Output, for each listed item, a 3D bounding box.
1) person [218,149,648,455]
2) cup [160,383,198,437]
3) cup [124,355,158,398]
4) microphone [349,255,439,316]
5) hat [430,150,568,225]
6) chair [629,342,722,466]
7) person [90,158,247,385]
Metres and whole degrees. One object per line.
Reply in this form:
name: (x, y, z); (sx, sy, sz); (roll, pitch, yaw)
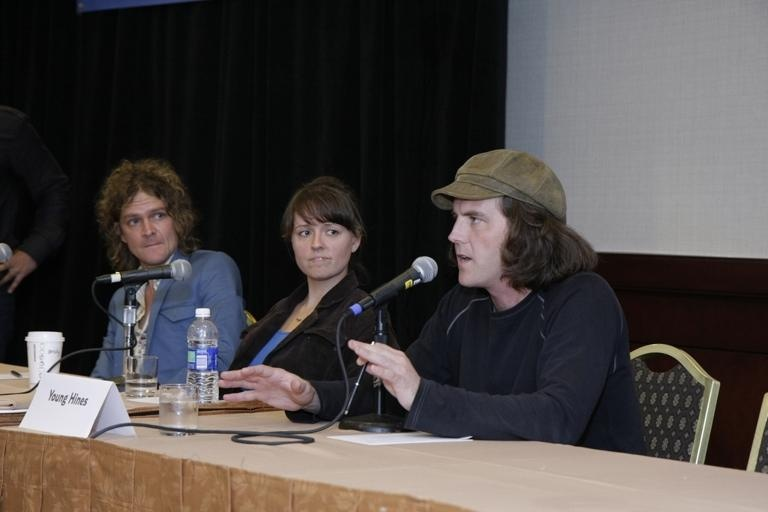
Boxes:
person: (0.144, 0.187, 2.336); (1.137, 1.043, 0.948); (7, -11, -25)
cup: (-0.625, 0.475, 2.030); (0.117, 0.158, 0.135); (-3, -7, 20)
cup: (-0.946, 0.459, 2.546); (0.138, 0.162, 0.108); (3, 4, -26)
microphone: (0.052, 0.089, 2.121); (0.117, 0.127, 0.437); (7, 22, 44)
hat: (0.413, -0.242, 2.363); (0.465, 0.248, 0.368); (9, -5, -12)
chair: (1.091, 0.621, 2.495); (0.270, 0.458, 0.284); (-5, 5, 26)
person: (-1.029, 0.058, 3.278); (0.672, 1.166, 0.669); (-19, -32, 13)
